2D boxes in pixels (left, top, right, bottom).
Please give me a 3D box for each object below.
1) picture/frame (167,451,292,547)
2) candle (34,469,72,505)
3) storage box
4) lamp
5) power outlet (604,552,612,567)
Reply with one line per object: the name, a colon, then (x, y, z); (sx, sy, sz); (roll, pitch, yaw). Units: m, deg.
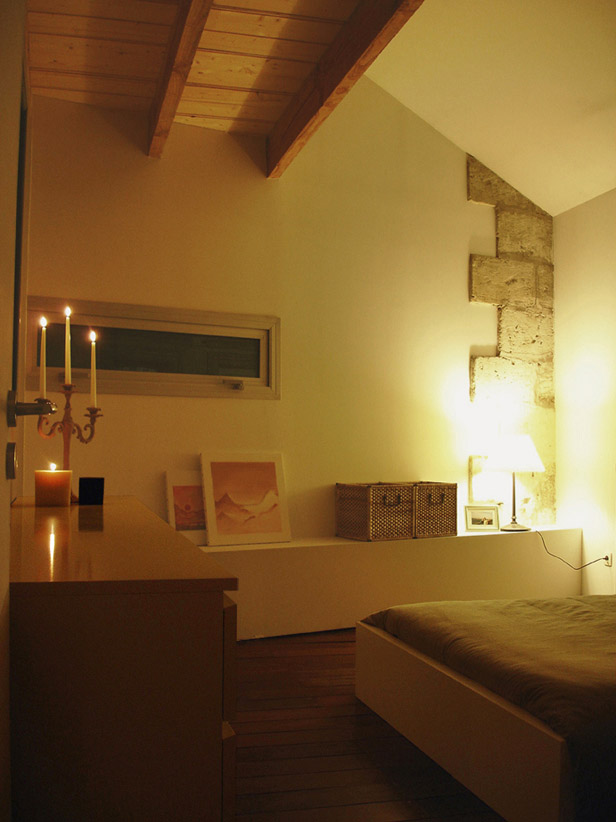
picture/frame: (-0.432, 0.467, 3.648); (0.491, 0.417, 0.054); (2, -17, -27)
candle: (-0.713, 0.207, 1.963); (0.089, 0.096, 0.093); (1, 6, 2)
storage box: (0.549, 0.575, 4.008); (0.696, 0.313, 0.252); (2, -3, -17)
lamp: (1.346, 0.445, 4.445); (0.304, 0.619, 0.459); (0, -3, 18)
power outlet: (1.845, 0.908, 4.245); (0.040, 0.087, 0.083); (1, -7, 5)
